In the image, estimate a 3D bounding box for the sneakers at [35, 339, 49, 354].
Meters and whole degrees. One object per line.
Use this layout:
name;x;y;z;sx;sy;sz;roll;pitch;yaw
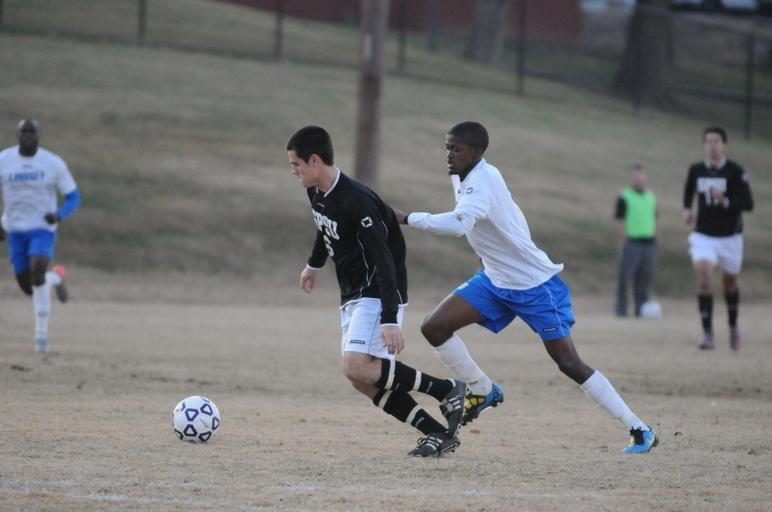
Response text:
sneakers;-4.804;1.249;22.714;0.170;0.188;0.172;1;2;-8

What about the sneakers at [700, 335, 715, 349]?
sneakers;4.663;1.249;23.579;0.258;0.255;0.135;0;2;8

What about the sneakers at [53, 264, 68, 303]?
sneakers;-4.620;0.396;23.048;0.138;0.504;0.151;-24;-18;37
